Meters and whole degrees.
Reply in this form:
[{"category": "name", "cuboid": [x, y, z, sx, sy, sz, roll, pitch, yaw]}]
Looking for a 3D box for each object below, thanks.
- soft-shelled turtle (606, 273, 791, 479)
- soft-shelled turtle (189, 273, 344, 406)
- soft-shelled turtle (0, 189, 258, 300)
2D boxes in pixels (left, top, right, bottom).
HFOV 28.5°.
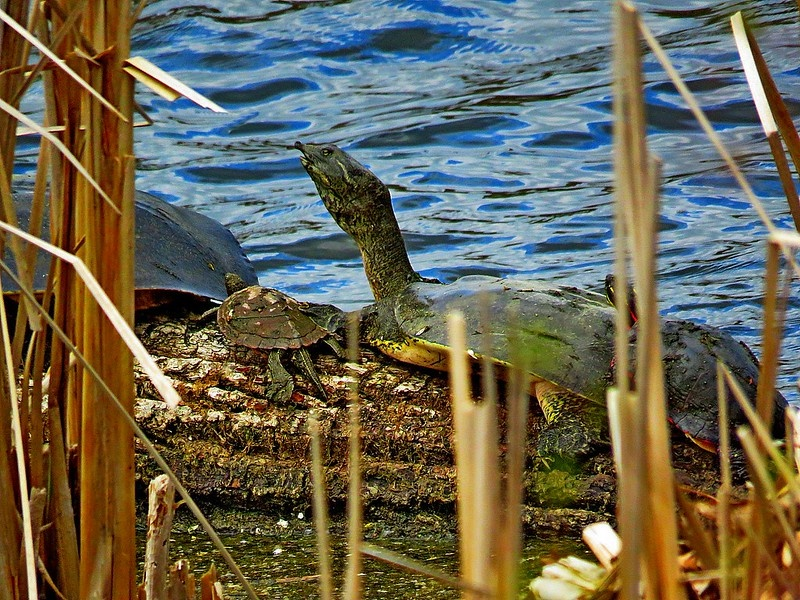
[{"category": "soft-shelled turtle", "cuboid": [1.554, 0.415, 8.016, 0.866, 1.188, 0.374, -20, -31, -57]}, {"category": "soft-shelled turtle", "cuboid": [-0.615, 0.130, 8.180, 0.589, 0.914, 0.221, -31, -28, -28]}, {"category": "soft-shelled turtle", "cuboid": [-1.529, -0.278, 8.887, 1.114, 0.250, 0.739, 15, 8, 4]}]
